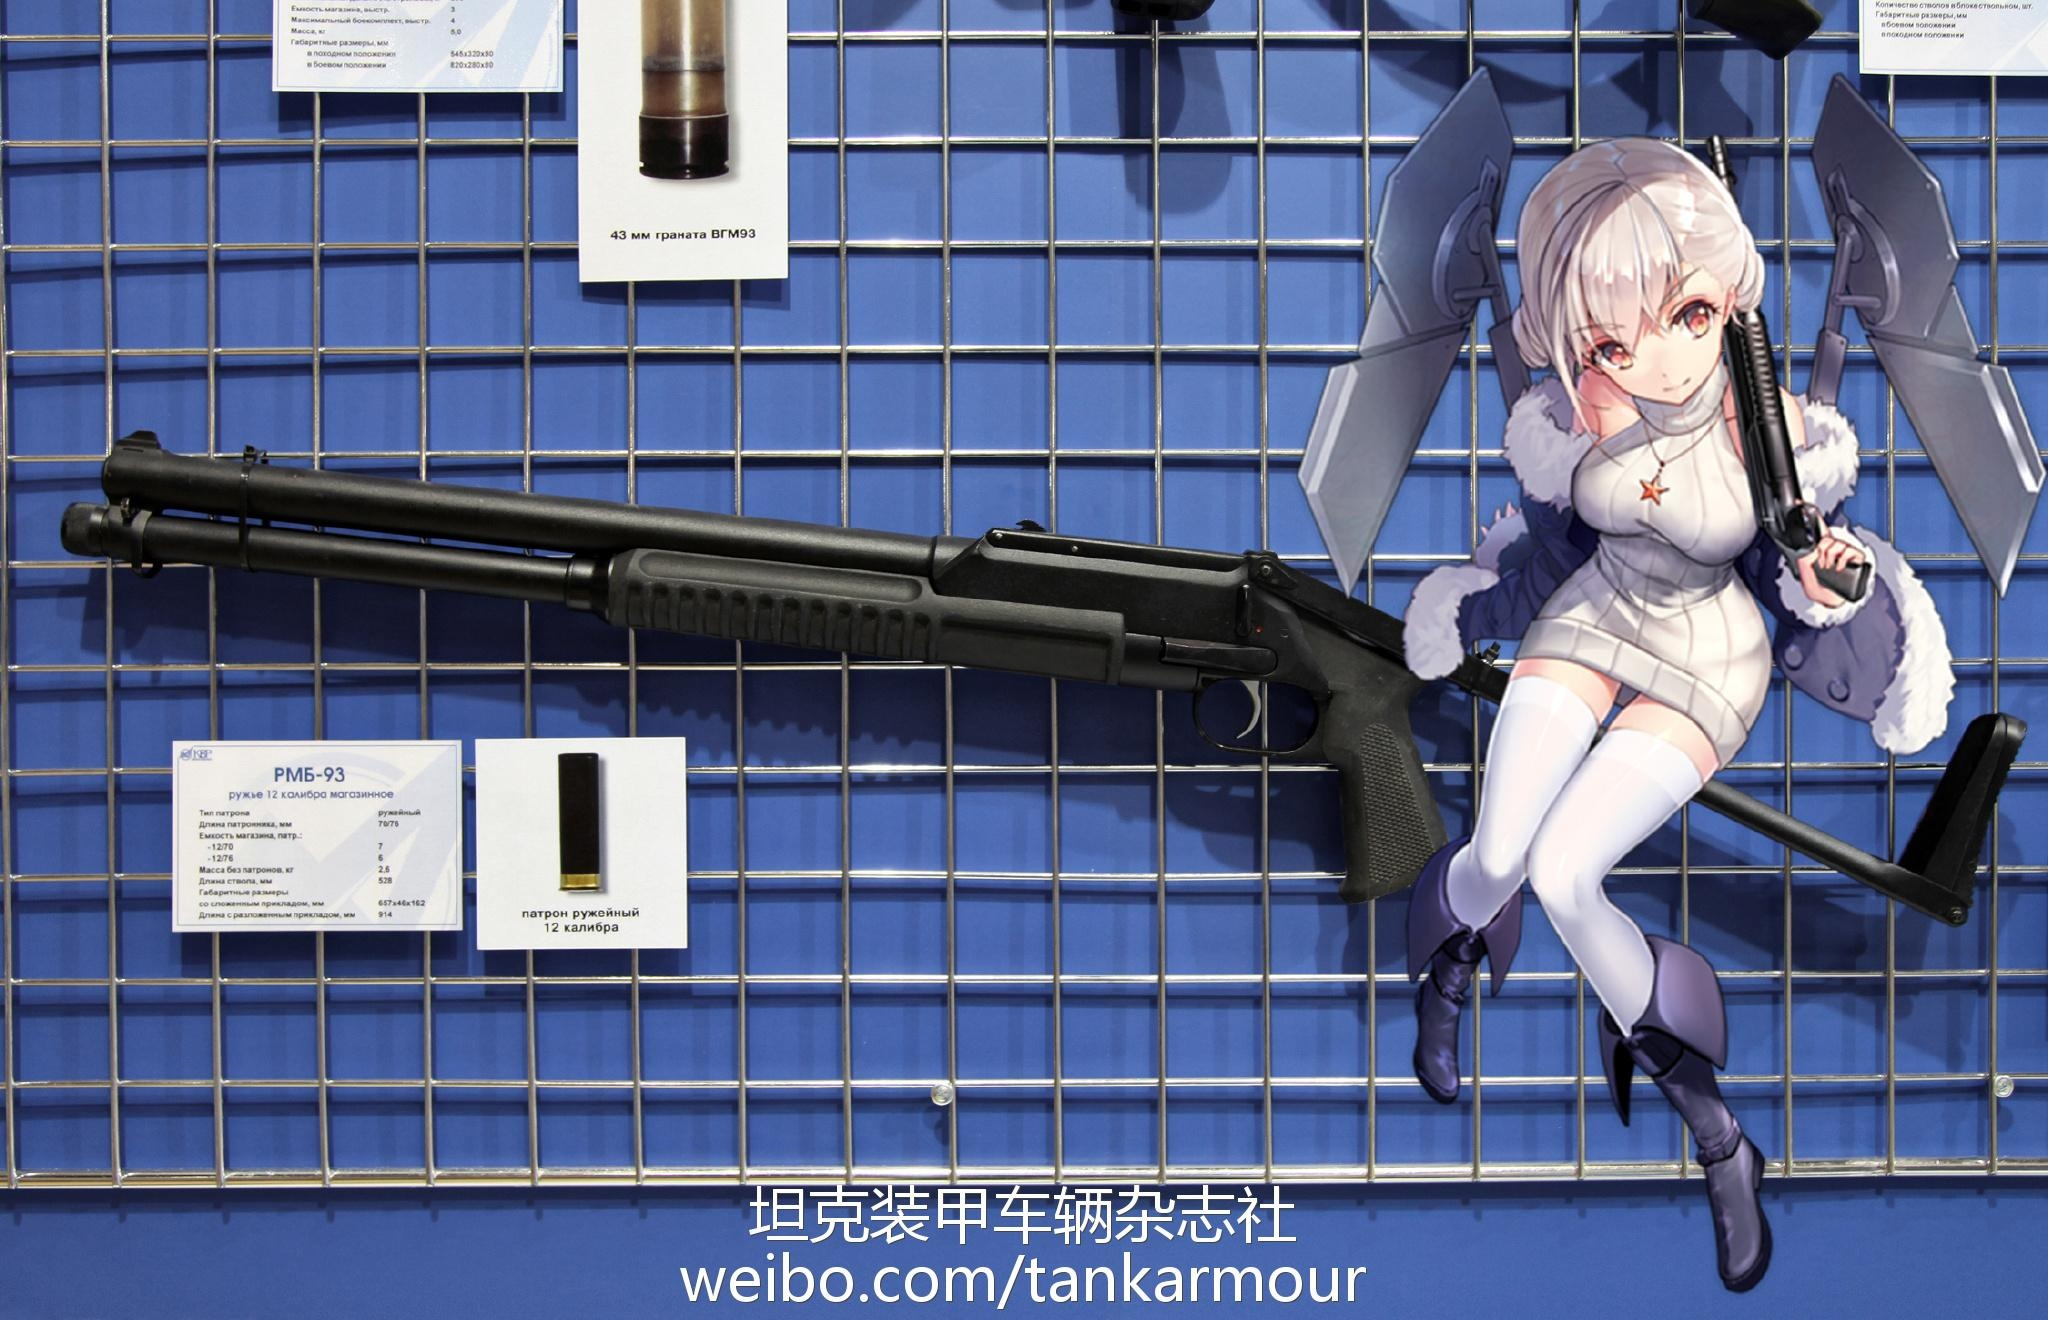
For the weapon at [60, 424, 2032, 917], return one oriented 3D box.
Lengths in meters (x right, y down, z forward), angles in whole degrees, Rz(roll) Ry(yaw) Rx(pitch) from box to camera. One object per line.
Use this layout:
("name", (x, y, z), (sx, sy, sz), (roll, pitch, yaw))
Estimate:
("weapon", (0.114, 0.014, 5.433), (2.504, 0.475, 0.218), (7, 5, -2))
